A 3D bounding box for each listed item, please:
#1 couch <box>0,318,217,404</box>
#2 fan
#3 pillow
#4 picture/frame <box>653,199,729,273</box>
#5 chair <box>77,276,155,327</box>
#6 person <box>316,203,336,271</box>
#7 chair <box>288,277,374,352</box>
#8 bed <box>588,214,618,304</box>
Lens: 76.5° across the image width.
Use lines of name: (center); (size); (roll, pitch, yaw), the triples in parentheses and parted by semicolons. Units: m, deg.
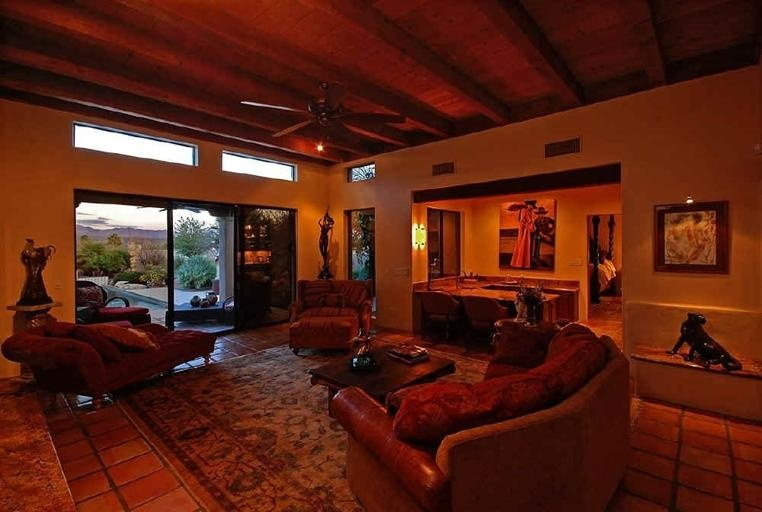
couch: (-3.352, 1.193, 6.082); (1.312, 0.786, 1.684); (0, 0, 21)
fan: (-0.683, -1.833, 6.418); (1.260, 0.421, 1.158); (2, 3, -28)
pillow: (-3.492, 0.972, 5.816); (0.709, 0.239, 0.695); (9, -4, 14)
picture/frame: (3.953, -0.261, 6.000); (0.973, 1.077, 0.089); (1, 1, 34)
chair: (-4.287, 0.707, 7.494); (1.062, 0.698, 0.699); (-1, -3, 14)
person: (-1.079, -0.271, 9.491); (0.339, 1.139, 0.710); (-1, 0, -7)
chair: (-0.845, 0.894, 7.687); (1.115, 0.832, 1.239); (-1, -5, 6)
bed: (5.484, 0.024, 11.614); (0.557, 2.084, 2.225); (-1, 0, 29)
